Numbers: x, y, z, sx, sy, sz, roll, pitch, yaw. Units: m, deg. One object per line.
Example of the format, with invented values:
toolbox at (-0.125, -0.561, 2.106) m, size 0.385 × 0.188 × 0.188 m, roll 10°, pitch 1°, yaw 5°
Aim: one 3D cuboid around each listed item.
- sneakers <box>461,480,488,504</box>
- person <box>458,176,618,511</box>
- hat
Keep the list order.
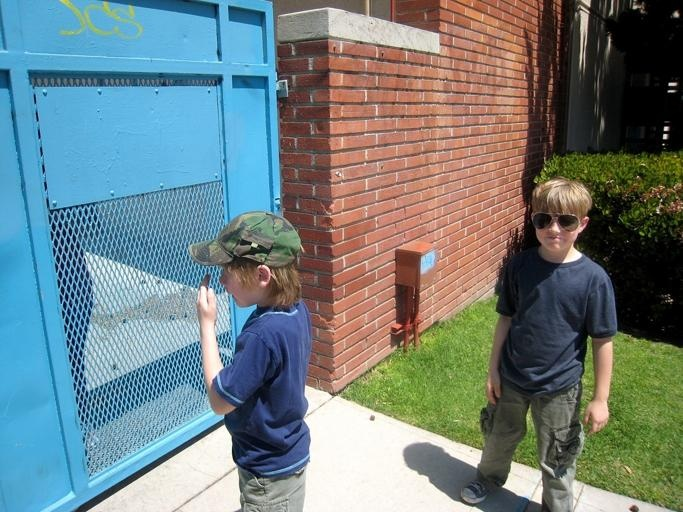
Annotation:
sneakers at (0.856, 1.538, 3.361) m, size 0.201 × 0.085 × 0.091 m, roll -17°, pitch 39°, yaw -42°
person at (1.171, 0.604, 3.060) m, size 0.749 × 2.066 × 0.393 m, roll 7°, pitch 15°, yaw 32°
hat at (-0.418, -0.075, 2.337) m, size 0.483 × 0.261 × 0.332 m, roll 7°, pitch 5°, yaw -4°
